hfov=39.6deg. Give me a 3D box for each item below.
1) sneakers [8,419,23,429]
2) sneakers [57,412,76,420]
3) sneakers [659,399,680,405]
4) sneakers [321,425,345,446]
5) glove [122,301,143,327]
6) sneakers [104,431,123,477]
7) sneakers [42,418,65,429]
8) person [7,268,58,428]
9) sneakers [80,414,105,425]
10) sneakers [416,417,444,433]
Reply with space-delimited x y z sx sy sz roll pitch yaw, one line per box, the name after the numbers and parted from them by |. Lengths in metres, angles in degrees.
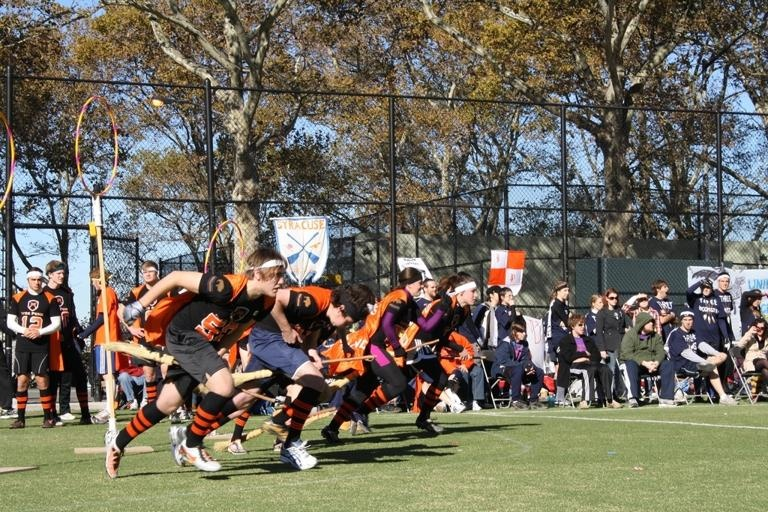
-6.993 3.194 20.398 0.147 0.156 0.360 0 -8 4 | sneakers
-6.507 3.283 21.909 0.390 0.164 0.142 -8 -8 41 | sneakers
6.253 3.186 23.250 0.408 0.186 0.155 -1 -4 12 | sneakers
-0.855 3.004 17.621 0.233 0.471 0.170 -33 12 -5 | sneakers
-3.506 0.810 14.913 0.312 0.237 0.148 -25 -50 12 | glove
-3.867 2.825 15.228 0.275 0.647 0.193 -6 -5 38 | sneakers
-6.426 3.208 20.630 0.160 0.195 0.488 4 -1 5 | sneakers
-6.737 1.776 20.629 1.031 3.054 0.740 -2 -5 -4 | person
-5.803 3.225 21.039 0.552 0.248 0.197 1 3 -23 | sneakers
0.792 3.032 18.964 0.514 0.226 0.227 13 5 23 | sneakers
